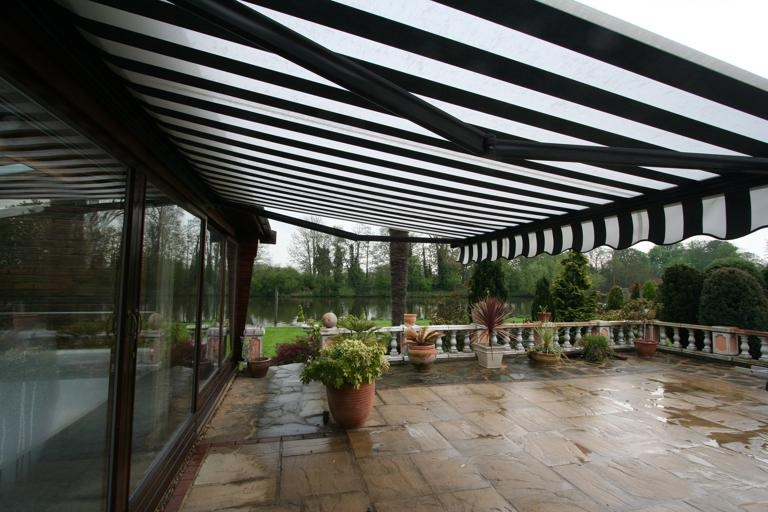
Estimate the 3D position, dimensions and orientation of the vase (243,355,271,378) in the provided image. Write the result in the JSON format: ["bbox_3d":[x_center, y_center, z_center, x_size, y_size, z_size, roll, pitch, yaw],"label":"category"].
[{"bbox_3d":[-2.585,2.309,9.226,0.480,0.247,0.431,0,-4,-16],"label":"vase"}]

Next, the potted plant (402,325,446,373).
[{"bbox_3d":[0.872,2.128,10.217,1.163,0.874,1.055,-1,-6,15],"label":"potted plant"}]

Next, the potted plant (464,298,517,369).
[{"bbox_3d":[2.654,1.878,10.820,1.188,1.475,1.179,3,-3,41],"label":"potted plant"}]

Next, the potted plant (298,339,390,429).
[{"bbox_3d":[-0.514,1.914,6.726,1.358,1.196,1.127,-17,-4,13],"label":"potted plant"}]

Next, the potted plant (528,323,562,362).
[{"bbox_3d":[3.982,2.203,11.097,0.724,0.795,0.651,5,-2,-28],"label":"potted plant"}]

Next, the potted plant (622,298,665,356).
[{"bbox_3d":[7.728,2.204,13.453,1.229,1.459,0.987,-17,-6,1],"label":"potted plant"}]

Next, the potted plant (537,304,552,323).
[{"bbox_3d":[5.270,1.900,14.551,0.697,0.570,0.633,-1,-6,10],"label":"potted plant"}]
